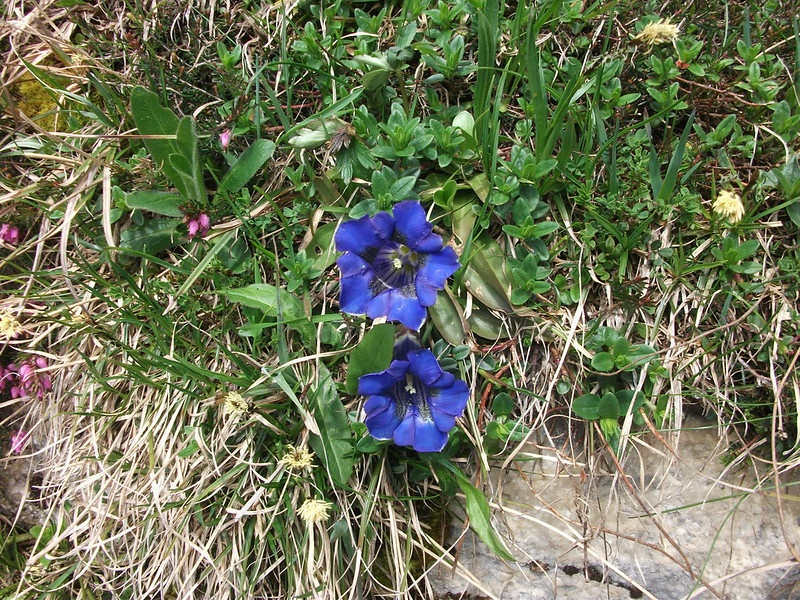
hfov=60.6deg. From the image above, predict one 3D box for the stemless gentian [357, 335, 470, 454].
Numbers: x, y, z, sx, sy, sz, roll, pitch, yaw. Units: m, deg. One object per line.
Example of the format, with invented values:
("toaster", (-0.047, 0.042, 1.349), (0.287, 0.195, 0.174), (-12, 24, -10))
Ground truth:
("stemless gentian", (0.041, 0.347, 2.561), (0.374, 0.454, 0.191), (17, 19, -8))
